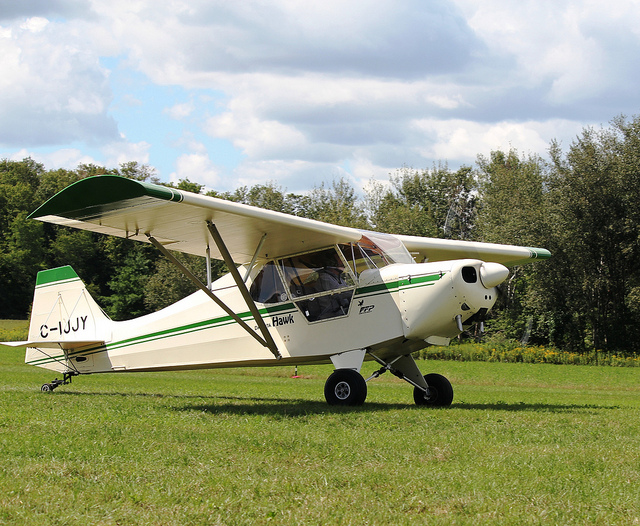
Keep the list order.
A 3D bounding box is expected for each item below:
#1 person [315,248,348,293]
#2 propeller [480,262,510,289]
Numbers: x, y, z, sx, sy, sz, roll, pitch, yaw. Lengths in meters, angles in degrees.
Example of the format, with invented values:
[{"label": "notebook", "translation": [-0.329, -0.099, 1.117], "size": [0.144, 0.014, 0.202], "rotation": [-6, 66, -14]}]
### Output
[{"label": "person", "translation": [0.163, 0.142, 13.071], "size": [0.801, 0.923, 1.006], "rotation": [-4, 1, 0]}, {"label": "propeller", "translation": [2.815, 0.190, 11.753], "size": [0.530, 0.356, 0.408], "rotation": [-1, -10, 18]}]
